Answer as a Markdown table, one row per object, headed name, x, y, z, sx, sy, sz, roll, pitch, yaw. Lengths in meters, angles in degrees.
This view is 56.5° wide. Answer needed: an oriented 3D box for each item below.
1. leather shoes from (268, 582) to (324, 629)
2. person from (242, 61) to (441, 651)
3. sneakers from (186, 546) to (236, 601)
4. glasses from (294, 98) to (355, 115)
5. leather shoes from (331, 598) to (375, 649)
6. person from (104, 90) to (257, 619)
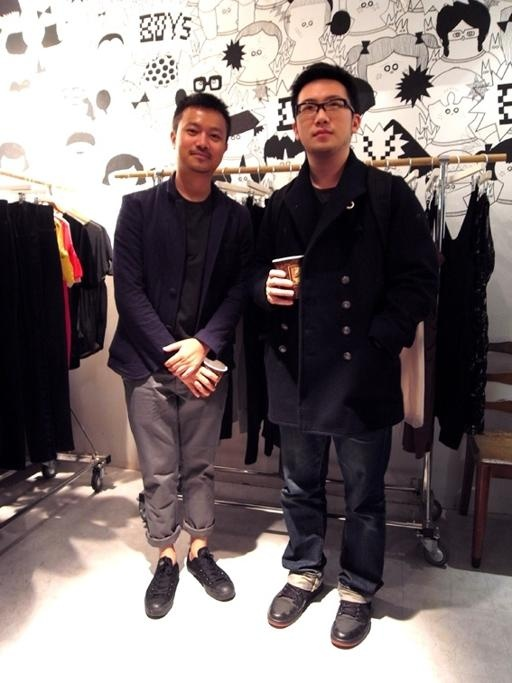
| name | x | y | z | sx | sy | sz | roll | pitch | yaw |
| --- | --- | --- | --- | --- | --- | --- | --- | --- | --- |
| leather shoes | 0.116 | 0.851 | 1.584 | 0.063 | 0.084 | 0.199 | 14 | 5 | 25 |
| person | 0.202 | 0.056 | 1.424 | 0.505 | 1.692 | 0.461 | 1 | 3 | 25 |
| sneakers | -0.164 | 0.835 | 1.708 | 0.076 | 0.102 | 0.234 | -16 | 12 | -23 |
| glasses | 0.195 | -0.651 | 1.344 | 0.163 | 0.042 | 0.074 | 1 | 4 | 1 |
| leather shoes | 0.311 | 0.875 | 1.521 | 0.095 | 0.101 | 0.272 | -4 | -7 | 26 |
| person | -0.247 | 0.039 | 1.634 | 0.505 | 1.722 | 0.394 | -1 | 3 | -20 |
